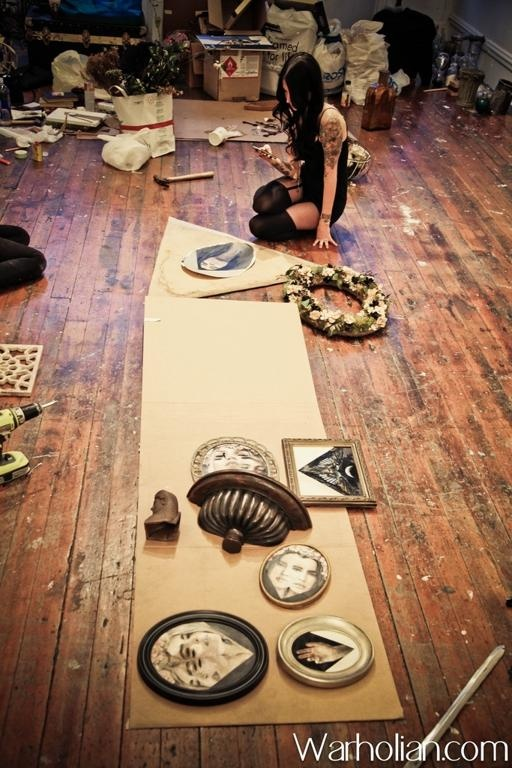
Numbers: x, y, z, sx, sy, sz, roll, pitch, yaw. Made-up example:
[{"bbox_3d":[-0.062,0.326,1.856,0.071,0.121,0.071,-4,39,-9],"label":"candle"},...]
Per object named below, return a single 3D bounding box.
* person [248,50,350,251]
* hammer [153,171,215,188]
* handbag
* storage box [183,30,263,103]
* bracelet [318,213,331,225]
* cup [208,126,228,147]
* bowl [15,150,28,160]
[{"bbox_3d":[0.266,-1.348,2.851,0.584,1.019,0.543,8,36,7],"label":"person"},{"bbox_3d":[-0.545,-1.570,3.671,0.421,0.062,0.178,-9,32,-8],"label":"hammer"},{"bbox_3d":[-0.897,-2.163,3.897,0.397,0.537,0.325,-12,43,-16],"label":"handbag"},{"bbox_3d":[-0.318,-3.242,4.891,0.700,0.502,0.718,-5,51,-10],"label":"storage box"},{"bbox_3d":[0.427,-1.027,2.994,0.063,0.068,0.069,-3,64,-3],"label":"bracelet"},{"bbox_3d":[-0.324,-2.166,4.215,0.198,0.135,0.179,-13,39,-21],"label":"cup"},{"bbox_3d":[-1.895,-1.818,3.821,0.097,0.048,0.099,-2,30,1],"label":"bowl"}]
